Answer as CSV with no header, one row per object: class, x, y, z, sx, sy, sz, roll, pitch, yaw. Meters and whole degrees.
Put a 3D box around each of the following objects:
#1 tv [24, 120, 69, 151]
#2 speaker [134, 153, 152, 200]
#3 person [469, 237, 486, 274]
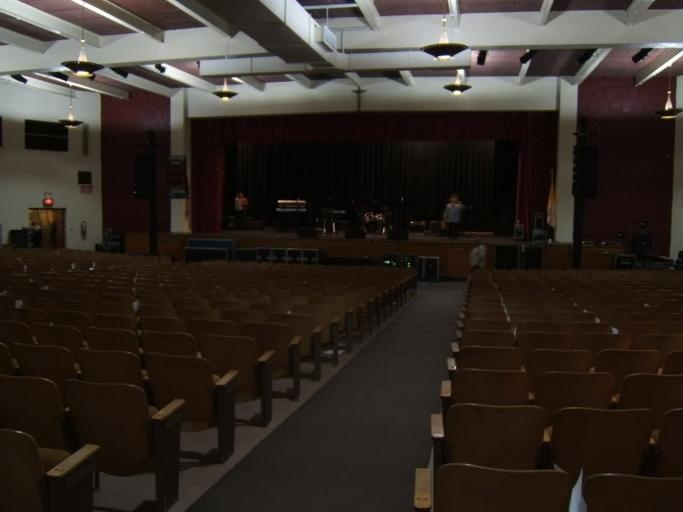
tv,-11.138,-4.479,19.671,0.162,0.954,1.175,-1,1,43
speaker,-6.691,-2.669,17.712,0.653,1.379,0.252,2,6,20
person,3.968,0.046,15.432,0.477,1.068,0.710,10,-2,15
